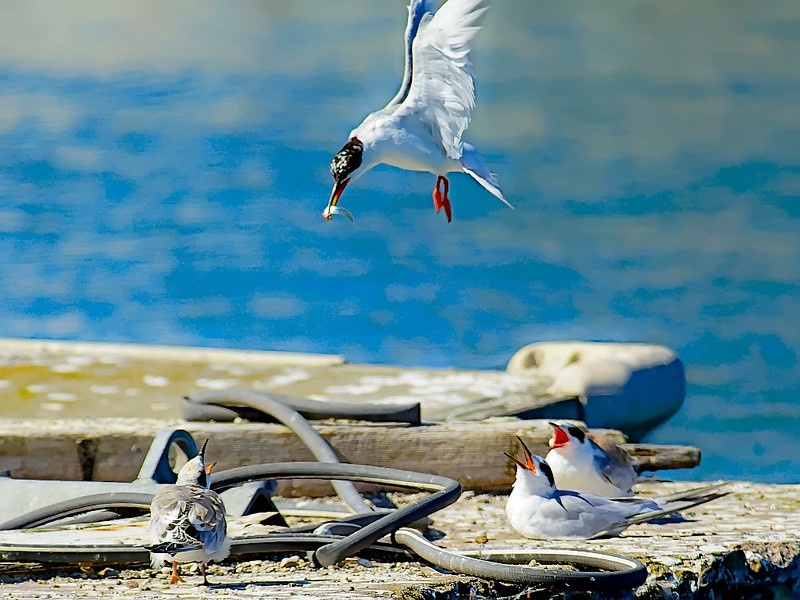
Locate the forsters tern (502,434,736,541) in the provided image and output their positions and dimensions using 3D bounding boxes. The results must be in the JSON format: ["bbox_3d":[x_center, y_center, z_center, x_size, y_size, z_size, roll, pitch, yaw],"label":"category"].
[{"bbox_3d":[1.322,1.223,12.603,1.718,0.492,0.443,2,21,-27],"label":"forsters tern"}]
